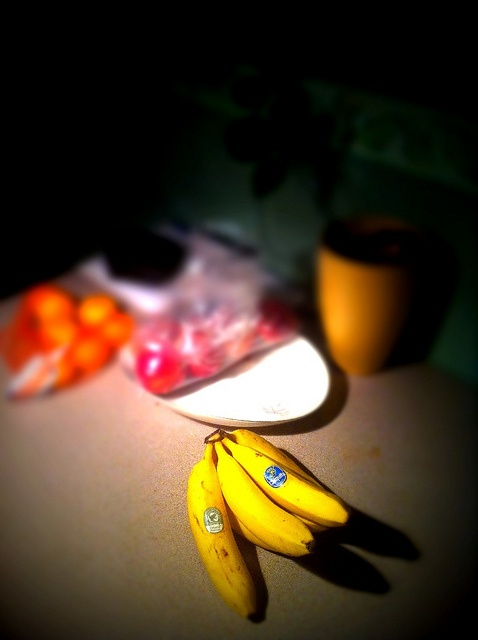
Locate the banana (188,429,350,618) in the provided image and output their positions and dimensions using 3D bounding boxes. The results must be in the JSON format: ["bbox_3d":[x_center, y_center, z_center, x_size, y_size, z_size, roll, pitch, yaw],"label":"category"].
[{"bbox_3d":[0.017,0.208,0.683,0.175,0.051,0.170,15,45,-4],"label":"banana"}]
